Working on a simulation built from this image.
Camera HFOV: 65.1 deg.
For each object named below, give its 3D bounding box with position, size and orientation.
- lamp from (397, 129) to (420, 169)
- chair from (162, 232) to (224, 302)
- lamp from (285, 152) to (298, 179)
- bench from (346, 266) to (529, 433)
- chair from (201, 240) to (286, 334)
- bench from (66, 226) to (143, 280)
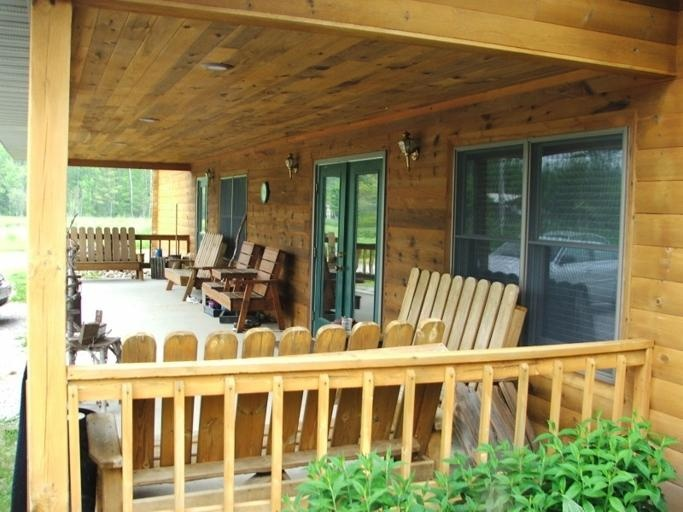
[{"bbox_3d":[0.675,-1.062,5.387,0.160,0.358,0.187,-2,4,-28],"label":"lamp"},{"bbox_3d":[-2.931,0.236,10.665,1.115,1.072,1.055,10,16,37],"label":"chair"},{"bbox_3d":[-0.754,-1.323,7.881,0.151,0.344,0.387,-2,4,-20],"label":"lamp"},{"bbox_3d":[0.851,0.670,4.440,1.077,1.050,1.109,-5,6,-34],"label":"bench"},{"bbox_3d":[-1.440,0.489,8.250,1.095,1.209,1.382,-1,3,-21],"label":"chair"},{"bbox_3d":[-5.780,-0.030,13.344,1.760,1.053,0.710,2,-11,-9],"label":"bench"}]
